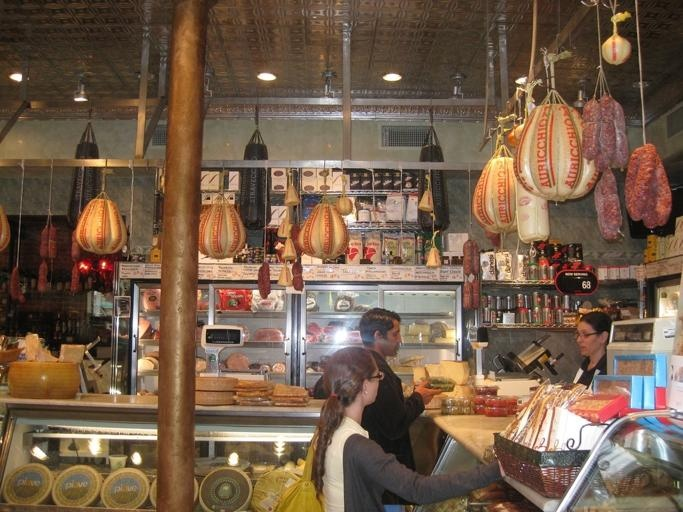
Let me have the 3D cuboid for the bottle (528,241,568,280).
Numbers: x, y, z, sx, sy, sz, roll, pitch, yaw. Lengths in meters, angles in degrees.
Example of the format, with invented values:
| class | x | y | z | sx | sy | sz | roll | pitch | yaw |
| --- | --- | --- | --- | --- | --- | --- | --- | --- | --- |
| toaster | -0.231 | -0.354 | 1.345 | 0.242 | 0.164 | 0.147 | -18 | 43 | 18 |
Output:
| class | x | y | z | sx | sy | sz | roll | pitch | yaw |
| --- | --- | --- | --- | --- | --- | --- | --- | --- | --- |
| bottle | 2.423 | 0.107 | 7.657 | 0.451 | 0.437 | 0.460 | 2 | -10 | -2 |

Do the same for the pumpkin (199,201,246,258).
| class | x | y | z | sx | sy | sz | roll | pitch | yaw |
| --- | --- | --- | --- | --- | --- | --- | --- | --- | --- |
| pumpkin | -0.978 | -0.208 | 5.253 | 0.445 | 0.598 | 0.416 | 1 | -1 | -11 |

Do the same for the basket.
| class | x | y | z | sx | sy | sz | roll | pitch | yaw |
| --- | --- | --- | --- | --- | --- | --- | --- | --- | --- |
| basket | 0.936 | 0.810 | 2.474 | 0.324 | 0.120 | 0.350 | 2 | -9 | -13 |

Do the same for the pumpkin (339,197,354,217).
| class | x | y | z | sx | sy | sz | roll | pitch | yaw |
| --- | --- | --- | --- | --- | --- | --- | --- | --- | --- |
| pumpkin | 0.032 | -0.401 | 5.237 | 0.137 | 0.169 | 0.138 | -3 | 1 | -13 |

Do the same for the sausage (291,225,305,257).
| class | x | y | z | sx | sy | sz | roll | pitch | yaw |
| --- | --- | --- | --- | --- | --- | --- | --- | --- | --- |
| sausage | -0.337 | -0.124 | 5.349 | 0.062 | 0.245 | 0.159 | 2 | -15 | -35 |

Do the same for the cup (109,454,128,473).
| class | x | y | z | sx | sy | sz | roll | pitch | yaw |
| --- | --- | --- | --- | --- | --- | --- | --- | --- | --- |
| cup | -1.469 | 1.367 | 4.190 | 0.095 | 0.068 | 0.095 | 1 | -21 | 0 |

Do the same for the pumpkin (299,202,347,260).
| class | x | y | z | sx | sy | sz | roll | pitch | yaw |
| --- | --- | --- | --- | --- | --- | --- | --- | --- | --- |
| pumpkin | -0.143 | -0.187 | 4.947 | 0.406 | 0.543 | 0.405 | 2 | -1 | 19 |

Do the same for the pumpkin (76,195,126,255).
| class | x | y | z | sx | sy | sz | roll | pitch | yaw |
| --- | --- | --- | --- | --- | --- | --- | --- | --- | --- |
| pumpkin | -2.019 | -0.257 | 5.199 | 0.449 | 0.611 | 0.445 | -2 | 5 | -36 |

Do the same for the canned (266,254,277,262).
| class | x | y | z | sx | sy | sz | roll | pitch | yaw |
| --- | --- | --- | --- | --- | --- | --- | --- | --- | --- |
| canned | -0.803 | 0.011 | 7.405 | 0.131 | 0.072 | 0.089 | -3 | -29 | -1 |

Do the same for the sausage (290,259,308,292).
| class | x | y | z | sx | sy | sz | roll | pitch | yaw |
| --- | --- | --- | --- | --- | --- | --- | --- | --- | --- |
| sausage | -0.356 | 0.167 | 5.343 | 0.055 | 0.240 | 0.140 | 2 | 2 | 22 |

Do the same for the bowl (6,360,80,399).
| class | x | y | z | sx | sy | sz | roll | pitch | yaw |
| --- | --- | --- | --- | --- | --- | --- | --- | --- | --- |
| bowl | -2.054 | 0.823 | 4.432 | 0.318 | 0.176 | 0.321 | -1 | -6 | 0 |
